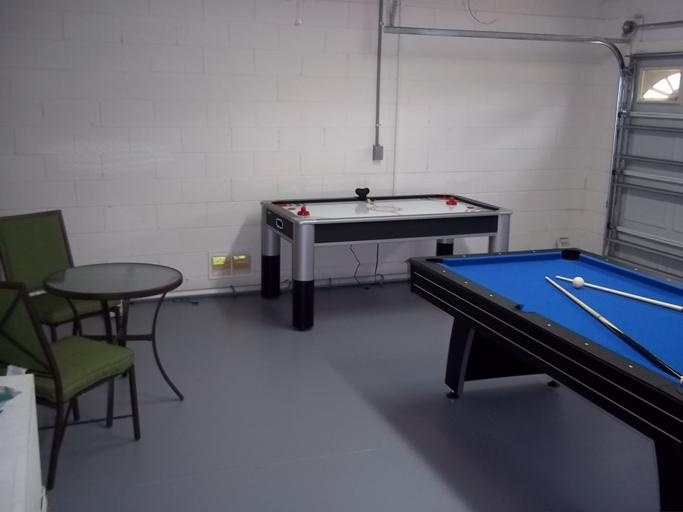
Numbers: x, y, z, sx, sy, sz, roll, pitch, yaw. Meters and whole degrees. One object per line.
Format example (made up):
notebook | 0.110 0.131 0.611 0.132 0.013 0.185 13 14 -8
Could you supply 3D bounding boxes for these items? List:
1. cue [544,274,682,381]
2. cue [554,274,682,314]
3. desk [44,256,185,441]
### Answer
cue | 1.289 0.350 2.471 0.061 0.052 0.770 18 15 -21
cue | 1.574 0.221 2.917 0.630 0.062 0.056 14 59 47
desk | -1.467 0.471 3.565 0.861 0.884 0.921 -16 32 -40
